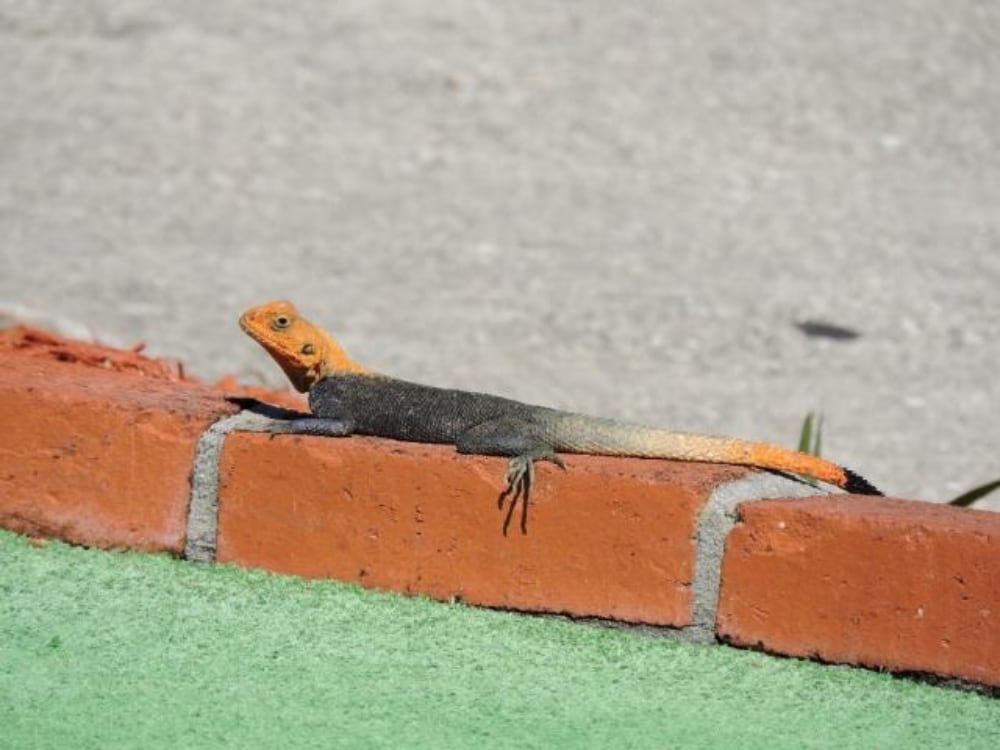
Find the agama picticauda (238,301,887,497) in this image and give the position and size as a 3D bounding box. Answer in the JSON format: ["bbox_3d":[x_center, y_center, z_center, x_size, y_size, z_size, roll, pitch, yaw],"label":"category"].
[{"bbox_3d":[0.322,0.109,5.396,1.922,0.550,0.333,12,97,17],"label":"agama picticauda"}]
